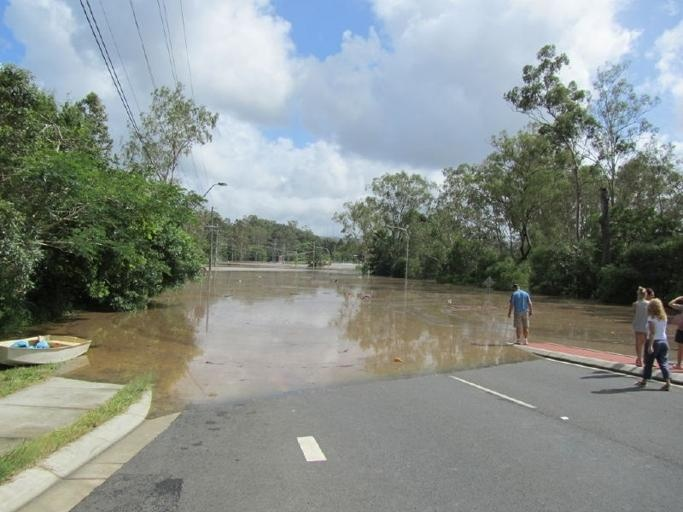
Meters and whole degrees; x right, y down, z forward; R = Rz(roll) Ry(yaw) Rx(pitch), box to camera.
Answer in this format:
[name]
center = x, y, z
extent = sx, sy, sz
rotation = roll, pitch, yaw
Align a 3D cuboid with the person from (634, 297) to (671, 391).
[person]
center = 7.558, 2.141, 11.627
extent = 0.644, 2.121, 0.815
rotation = 4, -6, -18
